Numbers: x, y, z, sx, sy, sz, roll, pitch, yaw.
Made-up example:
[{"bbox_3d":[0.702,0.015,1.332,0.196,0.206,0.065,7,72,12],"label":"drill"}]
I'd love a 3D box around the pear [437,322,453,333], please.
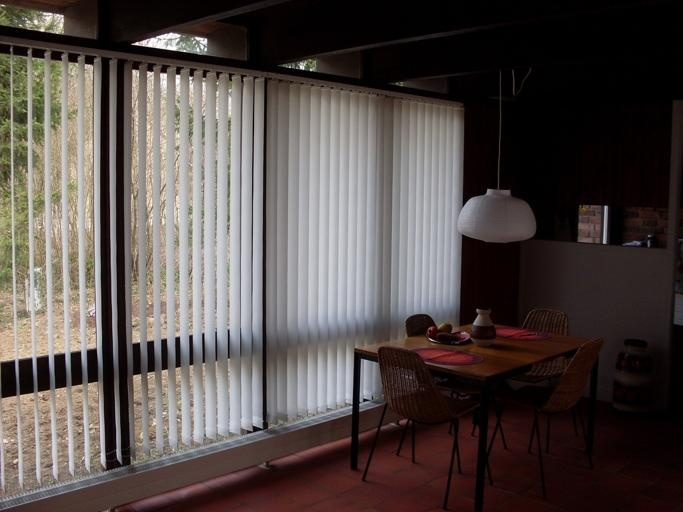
[{"bbox_3d":[0.845,0.586,4.989,0.088,0.105,0.090,3,0,-37],"label":"pear"}]

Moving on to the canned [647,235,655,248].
[{"bbox_3d":[3.016,-0.157,5.881,0.080,0.120,0.117,4,10,20],"label":"canned"}]

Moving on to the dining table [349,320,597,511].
[{"bbox_3d":[1.080,1.119,4.864,1.798,1.066,1.412,-7,12,-42],"label":"dining table"}]

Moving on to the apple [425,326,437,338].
[{"bbox_3d":[0.745,0.621,4.993,0.071,0.083,0.073,11,-15,-19],"label":"apple"}]
